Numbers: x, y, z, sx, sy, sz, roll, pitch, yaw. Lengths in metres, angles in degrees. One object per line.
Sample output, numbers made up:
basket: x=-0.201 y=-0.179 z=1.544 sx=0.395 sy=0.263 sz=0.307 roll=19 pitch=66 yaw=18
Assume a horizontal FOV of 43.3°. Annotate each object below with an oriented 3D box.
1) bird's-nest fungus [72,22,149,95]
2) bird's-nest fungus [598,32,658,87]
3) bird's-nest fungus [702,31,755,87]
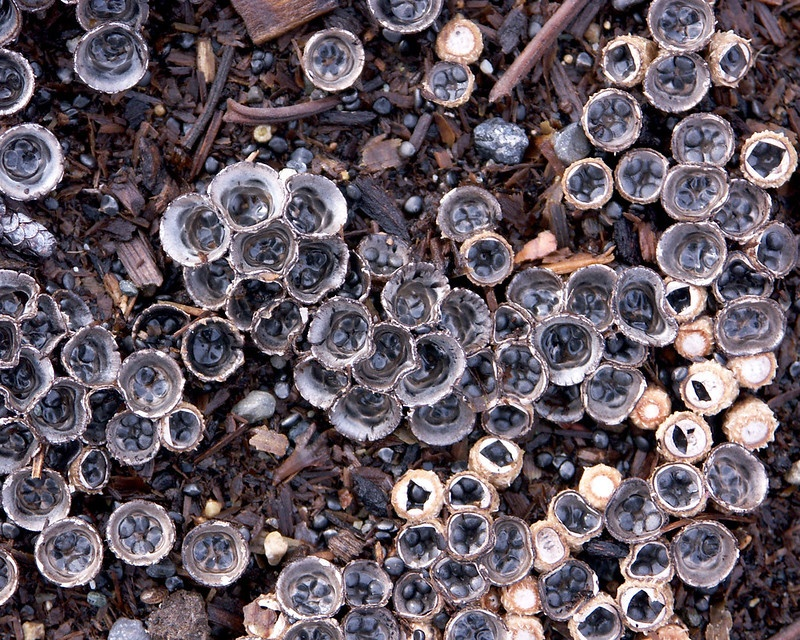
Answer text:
bird's-nest fungus: x=-1.960 y=-1.812 z=6.983 sx=0.596 sy=0.180 sz=0.624 roll=-4 pitch=-8 yaw=-25
bird's-nest fungus: x=1.634 y=-1.851 z=7.213 sx=0.320 sy=0.386 sz=0.424 roll=-2 pitch=11 yaw=11
bird's-nest fungus: x=2.366 y=-1.884 z=7.257 sx=0.298 sy=0.382 sz=0.249 roll=-10 pitch=14 yaw=-15
